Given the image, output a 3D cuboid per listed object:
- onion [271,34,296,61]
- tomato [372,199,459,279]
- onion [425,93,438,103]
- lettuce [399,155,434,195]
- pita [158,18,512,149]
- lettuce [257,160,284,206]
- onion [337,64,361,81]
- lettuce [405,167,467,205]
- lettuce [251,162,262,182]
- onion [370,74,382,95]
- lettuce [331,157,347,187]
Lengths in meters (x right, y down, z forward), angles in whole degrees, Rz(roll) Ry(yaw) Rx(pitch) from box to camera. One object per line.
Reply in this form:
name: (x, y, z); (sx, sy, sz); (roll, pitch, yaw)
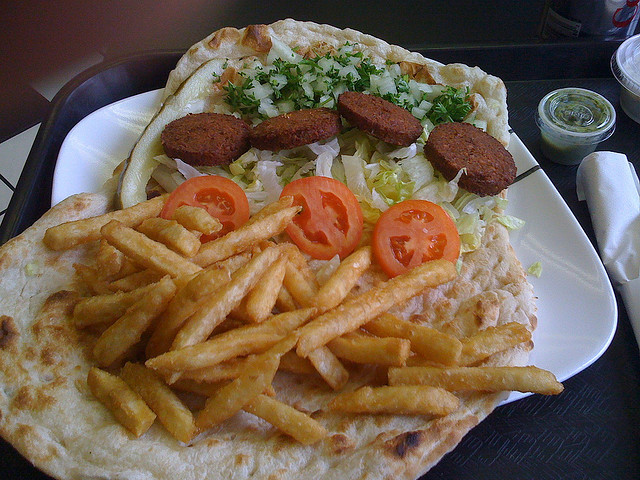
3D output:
onion: (-0.260, -1.262, 3.570); (0.188, 0.046, 0.118); (42, 50, -4)
tomato: (0.498, -0.018, 2.757); (0.368, 0.142, 0.395); (-6, 71, -3)
onion: (0.683, -0.898, 3.340); (0.059, 0.046, 0.060); (-1, 35, 12)
lettuce: (0.586, -0.356, 3.064); (0.058, 0.241, 0.196); (2, 94, -22)
pita: (0.259, -1.215, 4.118); (2.599, 0.379, 1.702); (1, 29, -29)
lettuce: (-0.280, -0.326, 3.065); (0.159, 0.069, 0.238); (-19, 89, 0)
onion: (0.192, -1.050, 3.341); (0.118, 0.035, 0.111); (38, 64, 8)
lettuce: (0.631, -0.290, 2.997); (0.349, 0.185, 0.236); (-5, 21, -12)
lettuce: (-0.357, -0.393, 3.052); (0.023, 0.094, 0.093); (-20, 75, -33)
onion: (0.349, -0.957, 3.300); (0.102, 0.039, 0.105); (8, 86, 27)
lettuce: (0.101, -0.396, 3.076); (0.125, 0.035, 0.137); (11, 55, -32)
